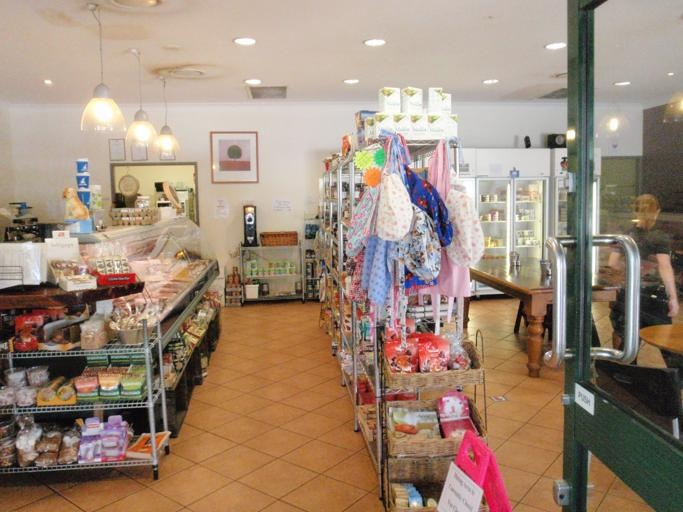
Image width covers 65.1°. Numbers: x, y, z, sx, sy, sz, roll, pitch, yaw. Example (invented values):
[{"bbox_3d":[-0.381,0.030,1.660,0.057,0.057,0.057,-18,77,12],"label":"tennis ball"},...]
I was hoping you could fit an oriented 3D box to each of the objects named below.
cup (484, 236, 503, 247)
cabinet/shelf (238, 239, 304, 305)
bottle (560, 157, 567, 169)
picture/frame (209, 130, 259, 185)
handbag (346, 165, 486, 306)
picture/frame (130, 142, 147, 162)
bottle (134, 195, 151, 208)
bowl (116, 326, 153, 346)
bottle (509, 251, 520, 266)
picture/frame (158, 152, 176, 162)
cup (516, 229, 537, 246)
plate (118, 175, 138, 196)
[{"bbox_3d":[2.467,-0.240,8.647,0.257,0.158,0.350,2,10,21],"label":"cup"},{"bbox_3d":[-1.184,0.217,8.686,1.068,1.009,0.374,-1,1,-7],"label":"cabinet/shelf"},{"bbox_3d":[3.396,-1.428,8.183,0.070,0.182,0.295,0,9,12],"label":"bottle"},{"bbox_3d":[-1.750,-1.612,8.467,0.861,0.893,0.038,-1,10,-2],"label":"picture/frame"},{"bbox_3d":[0.356,-0.141,2.900,0.638,0.815,0.389,1,14,3],"label":"handbag"},{"bbox_3d":[-3.158,-1.592,8.291,0.286,0.229,0.136,-3,9,-9],"label":"picture/frame"},{"bbox_3d":[-2.202,-0.606,5.893,0.122,0.109,0.174,-3,9,-11],"label":"bottle"},{"bbox_3d":[-1.407,0.528,3.627,0.150,0.064,0.154,0,-4,0],"label":"bowl"},{"bbox_3d":[1.992,0.041,6.195,0.114,0.146,0.147,0,-3,5],"label":"bottle"},{"bbox_3d":[-2.738,-1.548,8.350,0.251,0.121,0.183,-3,9,-12],"label":"picture/frame"},{"bbox_3d":[2.955,-0.302,8.595,0.348,0.225,0.149,-4,9,-18],"label":"cup"},{"bbox_3d":[-3.314,-1.097,8.251,0.296,0.311,0.269,-5,9,-20],"label":"plate"}]
